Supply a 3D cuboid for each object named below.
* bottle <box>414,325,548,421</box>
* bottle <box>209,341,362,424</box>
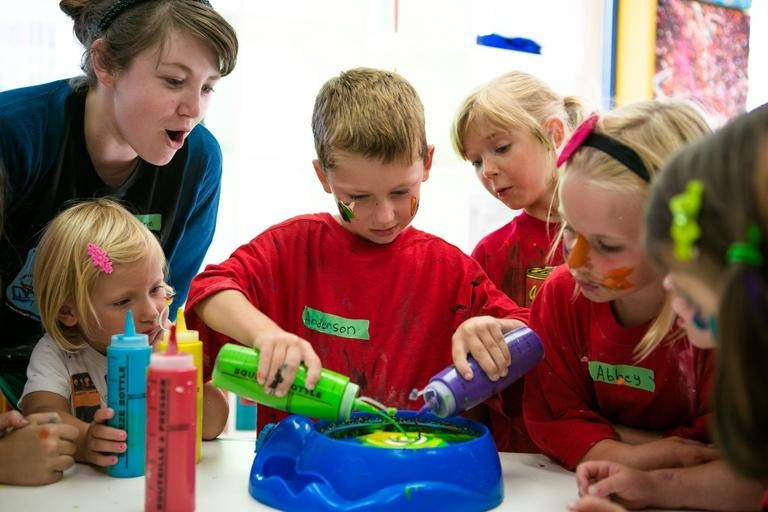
[{"bbox_3d":[0.312,0.307,1.965,0.459,0.148,0.148,-24,4,-26],"label":"bottle"},{"bbox_3d":[-0.243,0.326,1.884,0.441,0.154,0.146,17,35,4],"label":"bottle"}]
